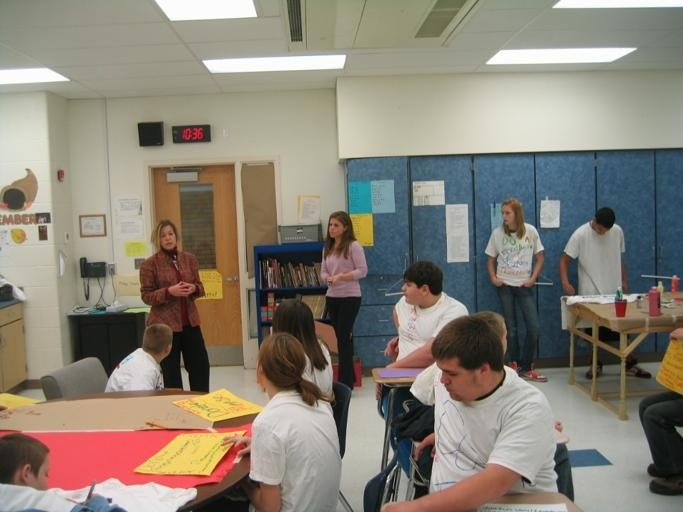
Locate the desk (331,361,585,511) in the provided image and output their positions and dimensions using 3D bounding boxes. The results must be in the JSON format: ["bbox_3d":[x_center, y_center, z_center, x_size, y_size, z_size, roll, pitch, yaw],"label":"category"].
[{"bbox_3d":[0.763,1.535,4.326,1.364,1.433,1.096,0,-2,-5],"label":"desk"}]

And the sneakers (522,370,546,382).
[{"bbox_3d":[2.035,1.278,5.740,0.255,0.120,0.099,1,4,31],"label":"sneakers"}]

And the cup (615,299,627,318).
[{"bbox_3d":[2.492,0.480,4.829,0.123,0.146,0.129,4,-3,0],"label":"cup"}]

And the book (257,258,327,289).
[{"bbox_3d":[-0.567,0.193,6.035,0.684,0.327,0.211,-2,12,-3],"label":"book"}]

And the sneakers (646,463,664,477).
[{"bbox_3d":[2.313,1.574,3.997,0.087,0.040,0.115,4,6,37],"label":"sneakers"}]

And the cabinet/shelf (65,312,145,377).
[{"bbox_3d":[-2.348,0.870,5.409,0.619,0.670,0.342,1,9,1],"label":"cabinet/shelf"}]

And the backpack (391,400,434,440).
[{"bbox_3d":[0.417,0.957,3.173,0.220,0.086,0.190,-9,4,5],"label":"backpack"}]

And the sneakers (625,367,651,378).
[{"bbox_3d":[3.139,1.236,5.724,0.238,0.112,0.097,-2,3,26],"label":"sneakers"}]

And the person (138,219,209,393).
[{"bbox_3d":[-1.475,0.547,4.864,0.535,1.741,0.473,-13,20,-39],"label":"person"}]

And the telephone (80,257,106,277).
[{"bbox_3d":[-2.899,0.135,6.291,0.196,0.184,0.088,1,9,-1],"label":"telephone"}]

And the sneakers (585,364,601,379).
[{"bbox_3d":[2.692,1.232,5.765,0.107,0.134,0.327,-9,-9,36],"label":"sneakers"}]
